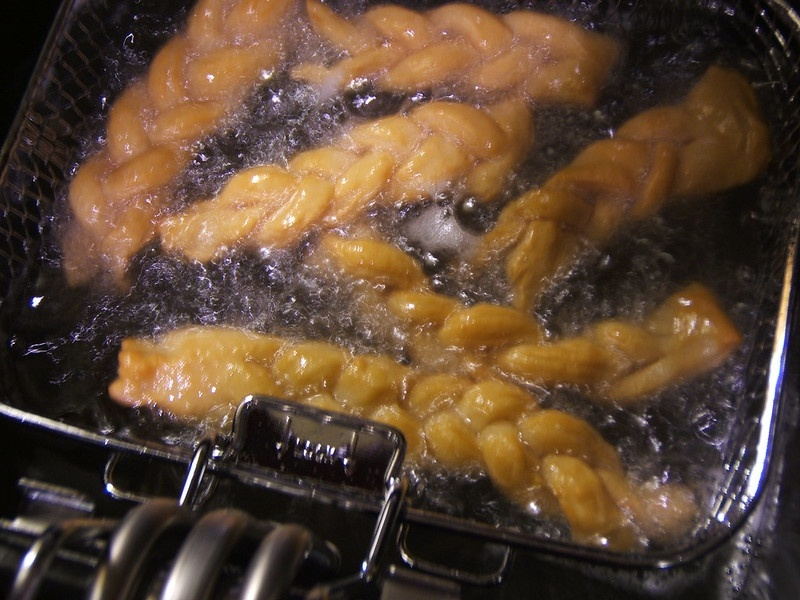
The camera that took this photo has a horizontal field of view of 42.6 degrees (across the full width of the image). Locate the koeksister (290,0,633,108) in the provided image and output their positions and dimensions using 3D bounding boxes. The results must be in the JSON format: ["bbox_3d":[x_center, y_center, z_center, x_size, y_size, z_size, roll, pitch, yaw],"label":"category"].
[{"bbox_3d":[0.098,-0.348,1.465,0.395,0.075,0.163,4,70,5],"label":"koeksister"}]
